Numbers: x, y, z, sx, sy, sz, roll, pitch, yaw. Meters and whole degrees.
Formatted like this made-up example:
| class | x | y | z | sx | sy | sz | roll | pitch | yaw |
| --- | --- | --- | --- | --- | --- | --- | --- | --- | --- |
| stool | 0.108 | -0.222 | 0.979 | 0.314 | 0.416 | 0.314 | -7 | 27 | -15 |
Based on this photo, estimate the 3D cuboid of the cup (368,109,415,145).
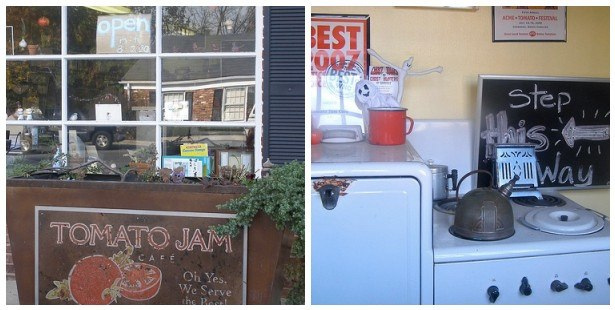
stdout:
| class | x | y | z | sx | sy | sz | roll | pitch | yaw |
| --- | --- | --- | --- | --- | --- | --- | --- | --- | --- |
| cup | 0.647 | -0.216 | 4.398 | 0.383 | 0.250 | 0.277 | -1 | 5 | -4 |

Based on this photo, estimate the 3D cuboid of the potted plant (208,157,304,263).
| class | x | y | z | sx | sy | sz | roll | pitch | yaw |
| --- | --- | --- | --- | --- | --- | --- | --- | --- | --- |
| potted plant | -0.342 | 0.385 | 4.502 | 0.850 | 0.408 | 0.774 | -5 | 23 | -13 |
